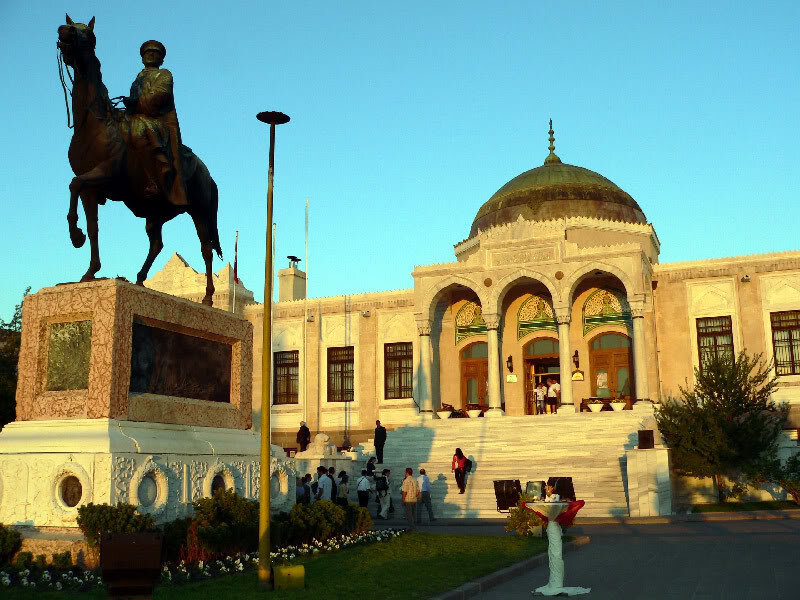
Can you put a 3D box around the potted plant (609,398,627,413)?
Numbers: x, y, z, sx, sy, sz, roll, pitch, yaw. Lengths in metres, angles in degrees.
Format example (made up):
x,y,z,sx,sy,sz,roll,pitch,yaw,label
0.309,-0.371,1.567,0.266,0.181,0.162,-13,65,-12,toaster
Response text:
x,y,z,sx,sy,sz,roll,pitch,yaw,label
7.770,3.779,32.158,0.448,0.327,0.435,6,-14,-36,potted plant

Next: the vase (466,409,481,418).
x,y,z,sx,sy,sz,roll,pitch,yaw,label
2.819,4.267,33.878,0.543,0.351,0.523,-2,-14,-5,vase

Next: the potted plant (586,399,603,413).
x,y,z,sx,sy,sz,roll,pitch,yaw,label
7.041,3.815,32.403,0.574,0.450,0.738,-7,-14,15,potted plant

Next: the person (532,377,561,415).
x,y,z,sx,sy,sz,roll,pitch,yaw,label
5.654,3.785,34.676,1.346,1.929,0.665,-5,-13,27,person

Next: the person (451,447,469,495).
x,y,z,sx,sy,sz,roll,pitch,yaw,label
1.835,5.151,27.088,0.454,1.400,1.344,-3,-13,3,person

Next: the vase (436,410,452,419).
x,y,z,sx,sy,sz,roll,pitch,yaw,label
1.676,4.390,34.345,0.531,0.378,0.698,-4,-14,5,vase

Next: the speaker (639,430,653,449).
x,y,z,sx,sy,sz,roll,pitch,yaw,label
6.773,3.848,24.810,0.353,0.492,0.555,-6,-14,12,speaker

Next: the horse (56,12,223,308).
x,y,z,sx,sy,sz,roll,pitch,yaw,label
-4.474,-2.270,15.151,2.409,4.632,3.628,0,-14,-12,horse
